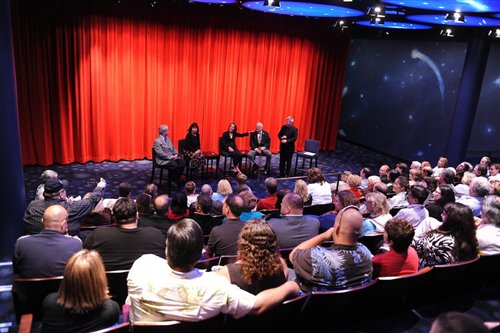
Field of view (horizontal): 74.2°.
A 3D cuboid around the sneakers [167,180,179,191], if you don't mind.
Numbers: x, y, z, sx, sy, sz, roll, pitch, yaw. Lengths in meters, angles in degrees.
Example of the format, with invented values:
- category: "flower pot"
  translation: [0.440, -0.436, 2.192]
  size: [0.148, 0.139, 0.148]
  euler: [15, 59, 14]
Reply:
- category: "sneakers"
  translation: [-1.762, 0.444, 7.663]
  size: [0.147, 0.170, 0.403]
  euler: [-10, 15, -43]

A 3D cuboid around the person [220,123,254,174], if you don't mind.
- category: "person"
  translation: [-0.320, -0.550, 8.945]
  size: [0.898, 1.188, 0.905]
  euler: [0, 15, -22]
